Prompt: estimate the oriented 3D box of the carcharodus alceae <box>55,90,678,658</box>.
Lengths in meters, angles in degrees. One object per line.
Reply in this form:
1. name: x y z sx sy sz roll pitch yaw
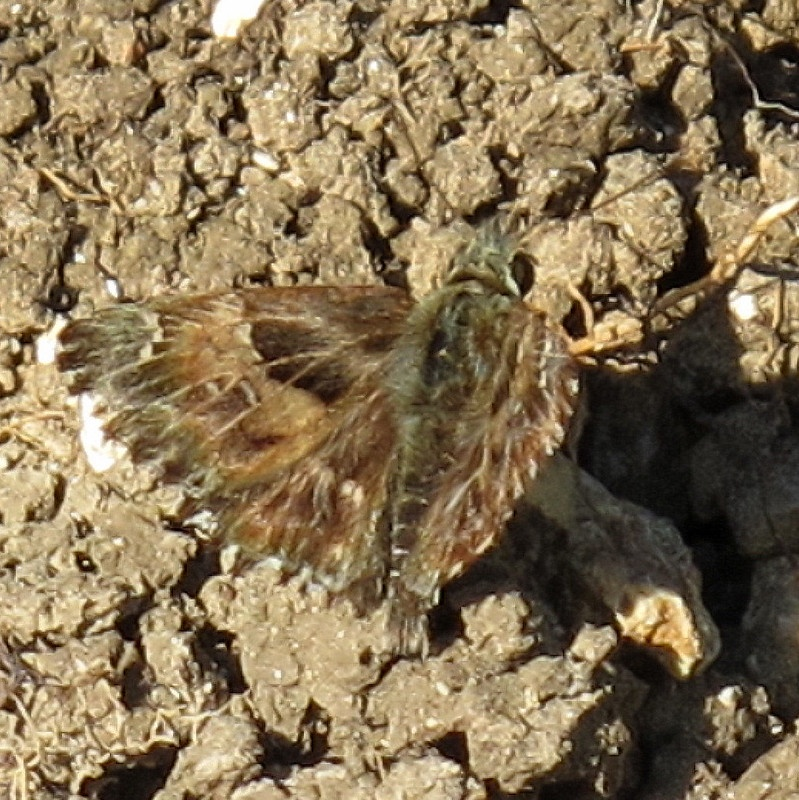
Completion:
1. carcharodus alceae: 0.073 0.047 3.673 1.107 0.298 0.725 12 56 2
